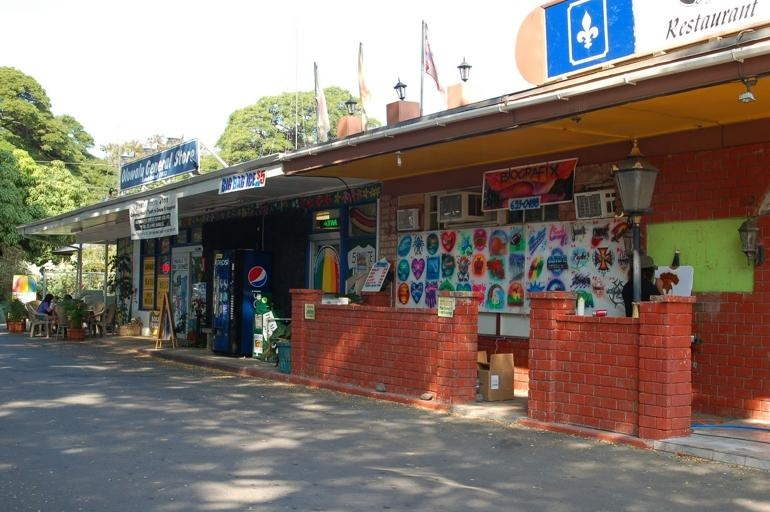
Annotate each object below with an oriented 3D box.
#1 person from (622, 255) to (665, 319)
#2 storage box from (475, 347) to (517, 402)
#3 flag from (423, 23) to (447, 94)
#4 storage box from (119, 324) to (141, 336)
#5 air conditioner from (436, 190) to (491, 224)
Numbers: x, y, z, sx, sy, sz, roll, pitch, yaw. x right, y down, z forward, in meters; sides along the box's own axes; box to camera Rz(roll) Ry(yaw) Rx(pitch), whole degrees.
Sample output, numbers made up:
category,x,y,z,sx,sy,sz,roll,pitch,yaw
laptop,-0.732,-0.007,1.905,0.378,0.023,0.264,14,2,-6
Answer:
category,x,y,z,sx,sy,sz,roll,pitch,yaw
person,4.199,0.468,11.696,0.623,1.219,0.618,-2,0,8
storage box,1.865,2.164,13.057,0.713,1.025,0.916,4,-6,-30
flag,1.115,-4.687,16.542,0.467,1.798,1.581,1,2,4
storage box,-9.785,2.904,27.444,0.504,0.340,0.514,2,-4,-21
air conditioner,1.643,-0.999,15.160,0.767,0.570,0.859,1,1,-31
